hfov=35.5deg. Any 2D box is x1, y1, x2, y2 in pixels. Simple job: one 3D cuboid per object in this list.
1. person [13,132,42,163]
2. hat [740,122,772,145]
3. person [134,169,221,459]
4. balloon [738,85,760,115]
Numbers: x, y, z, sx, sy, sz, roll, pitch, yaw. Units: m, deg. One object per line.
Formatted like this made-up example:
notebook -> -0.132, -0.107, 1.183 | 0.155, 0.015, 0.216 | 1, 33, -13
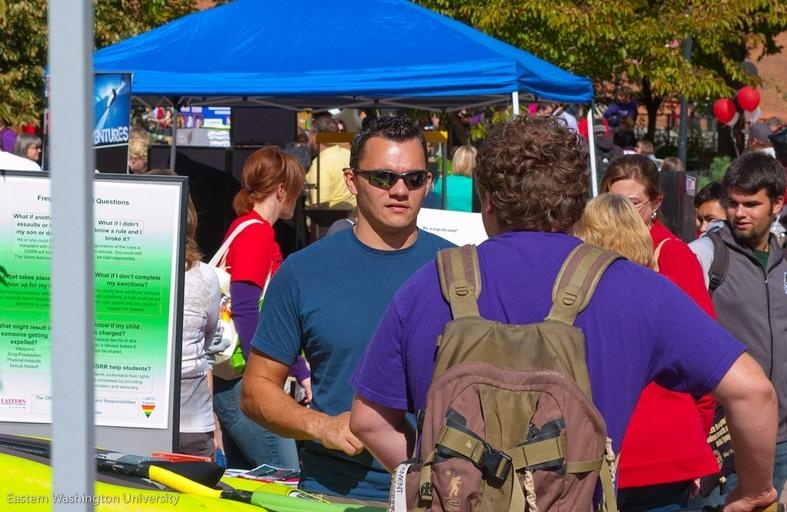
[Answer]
person -> -4.649, -1.379, 15.589 | 0.199, 0.386, 0.838 | 2, 0, -2
hat -> 6.388, -2.137, 21.389 | 0.498, 0.256, 0.749 | -2, 15, -6
person -> -1.422, 0.566, 8.975 | 0.233, 2.047, 0.512 | 2, 0, 20
balloon -> 6.232, -2.769, 21.515 | 0.338, 0.433, 0.671 | 2, 0, 20
